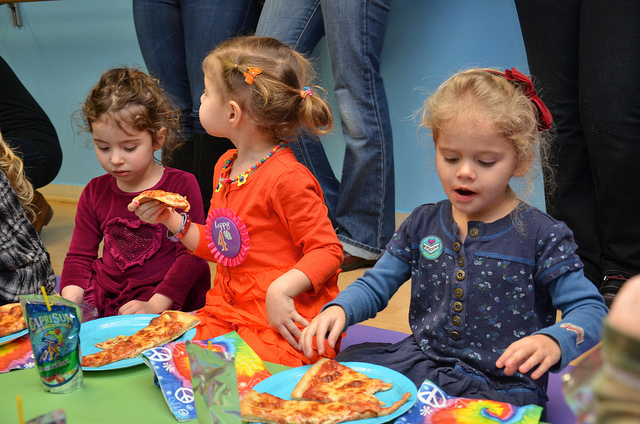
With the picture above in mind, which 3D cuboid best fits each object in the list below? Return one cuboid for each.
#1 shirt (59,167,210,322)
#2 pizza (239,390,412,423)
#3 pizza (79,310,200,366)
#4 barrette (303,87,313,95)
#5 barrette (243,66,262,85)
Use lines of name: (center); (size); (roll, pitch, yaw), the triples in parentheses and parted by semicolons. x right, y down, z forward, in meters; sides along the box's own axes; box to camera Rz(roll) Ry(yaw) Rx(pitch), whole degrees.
shirt: (-0.680, 0.165, 1.950); (0.503, 0.584, 0.475); (-7, 17, -21)
pizza: (-0.001, 0.394, 1.014); (0.311, 0.034, 0.108); (-1, 3, -2)
pizza: (-0.448, 0.294, 1.270); (0.114, 0.022, 0.190); (0, 15, 44)
barrette: (-0.040, -0.394, 1.654); (0.029, 0.030, 0.051); (-8, 5, -1)
barrette: (-0.213, -0.424, 1.577); (0.053, 0.050, 0.022); (31, -6, -13)
